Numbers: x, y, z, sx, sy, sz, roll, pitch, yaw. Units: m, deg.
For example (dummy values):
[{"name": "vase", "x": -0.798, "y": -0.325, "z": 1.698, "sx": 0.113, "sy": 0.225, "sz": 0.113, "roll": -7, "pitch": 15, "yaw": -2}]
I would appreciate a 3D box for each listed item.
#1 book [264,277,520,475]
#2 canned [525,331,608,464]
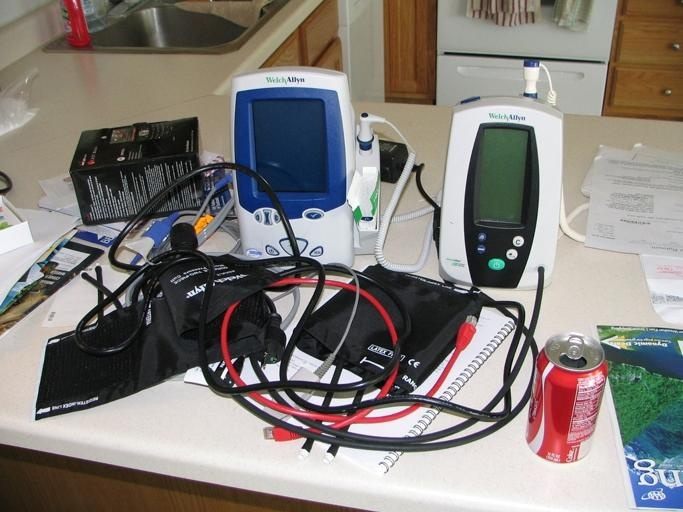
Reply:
[{"name": "book", "x": 0.121, "y": 0.181, "z": 0.910, "sx": 0.358, "sy": 0.077, "sz": 0.215, "roll": -15, "pitch": 33, "yaw": -20}, {"name": "canned", "x": 0.292, "y": 0.190, "z": 0.776, "sx": 0.081, "sy": 0.177, "sz": 0.065, "roll": 5, "pitch": 29, "yaw": 13}]
